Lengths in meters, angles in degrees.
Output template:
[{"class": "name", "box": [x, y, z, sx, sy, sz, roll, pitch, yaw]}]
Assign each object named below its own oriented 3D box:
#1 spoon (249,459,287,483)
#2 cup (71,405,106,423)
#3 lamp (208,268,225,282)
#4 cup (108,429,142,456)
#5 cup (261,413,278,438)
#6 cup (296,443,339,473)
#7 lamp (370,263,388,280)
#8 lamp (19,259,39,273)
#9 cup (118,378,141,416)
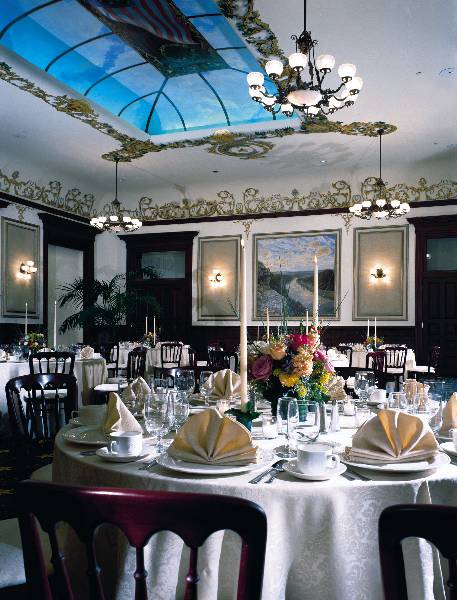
[{"class": "spoon", "box": [0.097, 0.415, 1.227, 0.031, 0.023, 0.181, 1, -1, 19]}, {"class": "cup", "box": [-0.508, 0.417, 1.790, 0.115, 0.074, 0.086, -1, -1, -7]}, {"class": "lamp", "box": [-0.323, -0.542, 10.651, 0.282, 0.277, 0.067, 7, -2, 25]}, {"class": "cup", "box": [-0.288, 0.393, 1.370, 0.061, 0.049, 0.080, 1, 3, 29]}, {"class": "cup", "box": [0.130, 0.437, 1.686, 0.060, 0.068, 0.062, -2, -2, 0]}, {"class": "cup", "box": [0.220, 0.386, 1.209, 0.083, 0.055, 0.065, 0, 2, 40]}, {"class": "lamp", "box": [2.945, -0.539, 9.570, 0.285, 0.145, 0.281, 0, -12, -2]}, {"class": "lamp", "box": [-3.811, -0.605, 9.343, 0.070, 0.297, 0.446, 0, 0, 16]}, {"class": "cup", "box": [-0.407, 0.393, 1.999, 0.052, 0.121, 0.090, -1, -17, 8]}]
